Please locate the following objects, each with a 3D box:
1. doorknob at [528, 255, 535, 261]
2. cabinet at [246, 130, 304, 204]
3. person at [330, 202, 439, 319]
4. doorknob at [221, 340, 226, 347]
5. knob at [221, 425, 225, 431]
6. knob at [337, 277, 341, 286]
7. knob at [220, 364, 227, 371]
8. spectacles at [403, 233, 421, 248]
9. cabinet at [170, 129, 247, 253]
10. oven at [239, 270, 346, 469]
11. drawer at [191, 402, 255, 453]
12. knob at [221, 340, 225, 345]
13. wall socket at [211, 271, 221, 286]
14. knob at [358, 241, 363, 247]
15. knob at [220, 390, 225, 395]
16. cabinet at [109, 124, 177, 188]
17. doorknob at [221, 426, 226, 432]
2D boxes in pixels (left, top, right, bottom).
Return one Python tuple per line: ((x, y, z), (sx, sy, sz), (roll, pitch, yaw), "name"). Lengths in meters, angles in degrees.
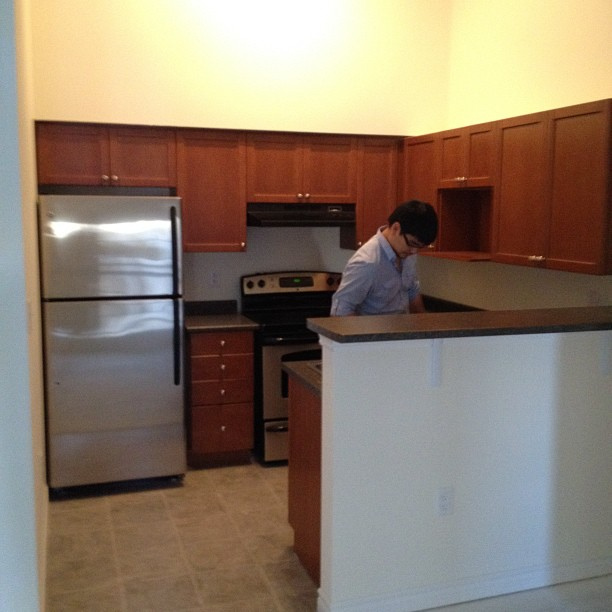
((1.154, -0.246, 2.926), (0.019, 0.018, 0.022), (-2, 9, -8), "doorknob")
((-0.202, -0.862, 4.045), (0.450, 0.655, 0.331), (0, -27, -2), "cabinet")
((0.502, -0.236, 2.988), (0.486, 0.576, 0.698), (3, 6, 39), "person")
((-0.541, 0.244, 3.739), (0.033, 0.041, 0.022), (0, 7, -7), "doorknob")
((-0.552, 0.810, 3.802), (0.022, 0.052, 0.025), (1, 4, 0), "knob")
((0.261, -0.195, 4.485), (0.026, 0.043, 0.044), (-2, 5, -21), "knob")
((-0.539, 0.401, 3.760), (0.030, 0.042, 0.022), (1, 6, -10), "knob")
((0.531, -0.321, 2.816), (0.056, 0.072, 0.018), (-7, 3, -21), "spectacles")
((-0.654, -0.763, 3.994), (0.333, 0.797, 0.379), (-4, 6, -7), "cabinet")
((-0.104, 0.404, 4.067), (0.726, 1.284, 0.830), (-1, 4, -8), "oven")
((-0.536, 0.799, 3.811), (0.414, 0.378, 0.272), (-1, 1, -19), "drawer")
((-0.547, 0.238, 3.737), (0.025, 0.046, 0.023), (-1, 5, -11), "knob")
((-0.671, -0.207, 4.215), (0.085, 0.150, 0.014), (0, 12, -12), "wall socket")
((0.394, -0.447, 4.115), (0.030, 0.039, 0.073), (0, 5, 6), "knob")
((-0.549, 0.568, 3.775), (0.019, 0.036, 0.021), (-2, 6, -18), "knob")
((-1.035, -0.953, 3.664), (0.430, 0.516, 0.320), (0, 3, -17), "cabinet")
((-0.550, 0.813, 3.803), (0.024, 0.056, 0.027), (5, 8, 4), "doorknob")
